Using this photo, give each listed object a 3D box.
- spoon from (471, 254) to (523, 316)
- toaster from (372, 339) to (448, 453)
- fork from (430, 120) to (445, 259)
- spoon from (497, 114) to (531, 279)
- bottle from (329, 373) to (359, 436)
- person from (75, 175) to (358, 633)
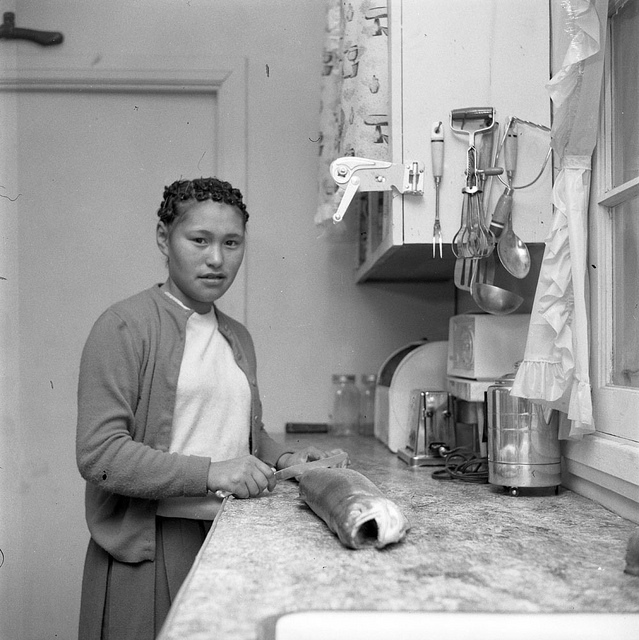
[{"bbox_3d":[0.335,-0.079,1.630,0.067,0.072,0.134,10,26,-13],"label":"spoon"},{"bbox_3d":[0.253,0.213,2.244,0.180,0.284,0.359,1,-1,0],"label":"toaster"},{"bbox_3d":[0.225,-0.257,1.608,0.027,0.250,0.034,0,5,14],"label":"fork"},{"bbox_3d":[0.357,-0.220,1.569,0.060,0.326,0.068,1,5,26],"label":"spoon"},{"bbox_3d":[0.081,0.271,2.594,0.120,0.200,0.134,1,-12,-4],"label":"bottle"},{"bbox_3d":[-0.231,0.160,1.573,0.467,0.842,0.387,-4,6,-33],"label":"person"}]
